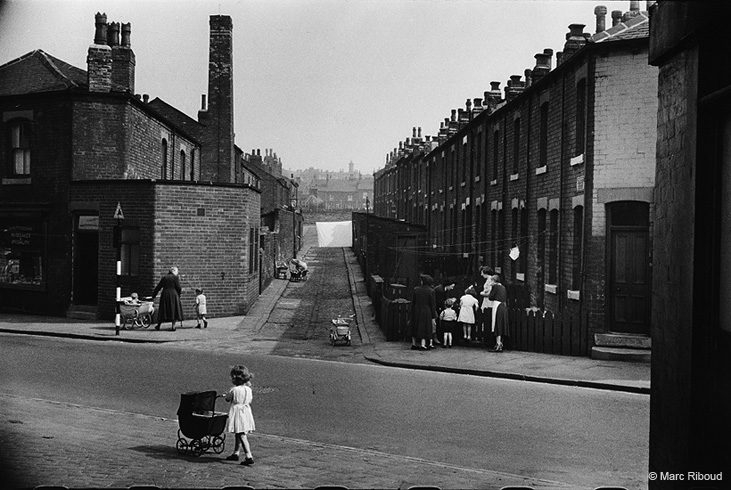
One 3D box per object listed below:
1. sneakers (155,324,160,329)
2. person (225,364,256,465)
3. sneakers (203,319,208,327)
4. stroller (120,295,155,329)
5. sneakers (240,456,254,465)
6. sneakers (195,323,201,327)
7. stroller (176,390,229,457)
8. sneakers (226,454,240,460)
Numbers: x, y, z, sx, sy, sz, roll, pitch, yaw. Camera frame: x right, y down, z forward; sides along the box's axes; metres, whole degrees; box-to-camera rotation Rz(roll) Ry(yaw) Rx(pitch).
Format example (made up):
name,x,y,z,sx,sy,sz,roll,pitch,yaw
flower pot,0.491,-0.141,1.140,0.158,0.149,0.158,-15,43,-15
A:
name,x,y,z,sx,sy,sz,roll,pitch,yaw
sneakers,-6.830,2.715,28.685,0.163,0.184,0.620,2,-3,-12
person,-2.457,3.305,17.049,0.577,1.869,0.891,2,-3,-9
sneakers,-5.399,2.677,29.367,0.091,0.221,0.201,2,-1,-18
stroller,-7.538,2.422,29.102,0.845,0.723,0.687,-5,-5,-6
sneakers,-2.263,4.157,16.714,0.268,0.137,0.104,2,3,19
sneakers,-5.619,2.713,29.336,0.190,0.144,0.308,2,-3,-12
stroller,-3.217,3.514,17.226,1.009,1.257,0.981,1,-3,-13
sneakers,-2.562,4.138,16.917,0.268,0.117,0.102,1,-1,23
